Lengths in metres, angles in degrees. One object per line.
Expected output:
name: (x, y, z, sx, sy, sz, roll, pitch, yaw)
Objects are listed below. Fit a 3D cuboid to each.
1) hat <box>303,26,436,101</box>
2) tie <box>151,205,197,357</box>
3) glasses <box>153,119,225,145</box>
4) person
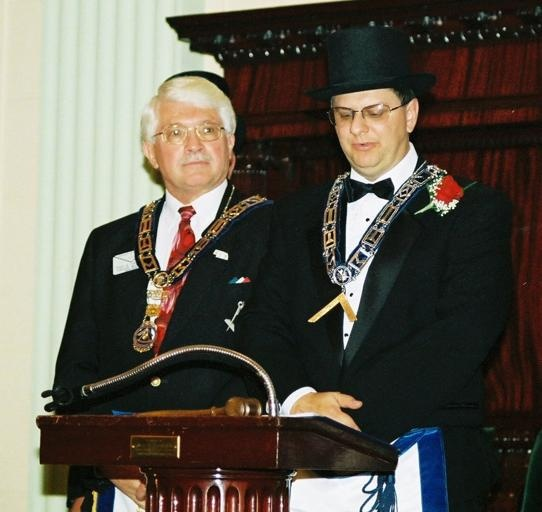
hat: (0.368, -0.706, 3.603, 0.420, 0.147, 0.353, 2, -6, -34)
tie: (-0.367, 0.056, 3.751, 0.112, 0.585, 0.072, -21, -54, 26)
glasses: (-0.317, -0.489, 3.869, 0.156, 0.034, 0.133, -2, -18, -2)
person: (0.373, 0.201, 3.405, 0.920, 1.244, 0.598, 0, 0, 19)
